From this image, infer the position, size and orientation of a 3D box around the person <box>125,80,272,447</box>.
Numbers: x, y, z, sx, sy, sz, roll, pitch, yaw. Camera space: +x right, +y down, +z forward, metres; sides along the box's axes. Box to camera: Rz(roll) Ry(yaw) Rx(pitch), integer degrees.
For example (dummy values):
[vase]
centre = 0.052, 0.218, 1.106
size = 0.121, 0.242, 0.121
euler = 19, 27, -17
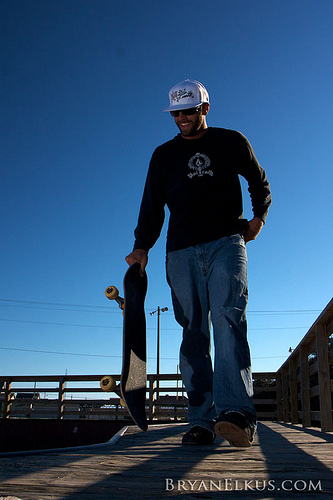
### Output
[person]
centre = 0.113, 0.012, 2.171
size = 0.659, 1.695, 0.509
euler = -13, -25, 34

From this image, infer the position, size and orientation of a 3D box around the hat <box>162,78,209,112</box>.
[hat]
centre = 0.101, -0.777, 2.267
size = 0.207, 0.158, 0.295
euler = 3, 17, 35
